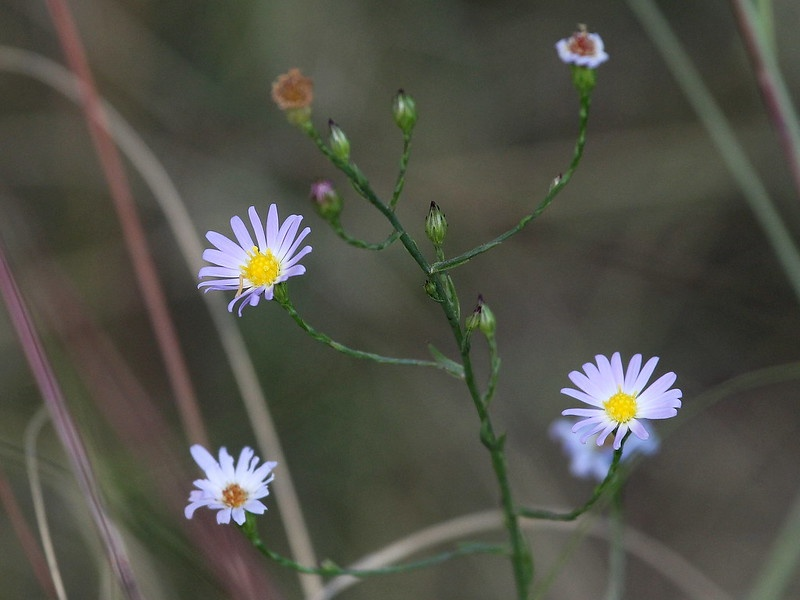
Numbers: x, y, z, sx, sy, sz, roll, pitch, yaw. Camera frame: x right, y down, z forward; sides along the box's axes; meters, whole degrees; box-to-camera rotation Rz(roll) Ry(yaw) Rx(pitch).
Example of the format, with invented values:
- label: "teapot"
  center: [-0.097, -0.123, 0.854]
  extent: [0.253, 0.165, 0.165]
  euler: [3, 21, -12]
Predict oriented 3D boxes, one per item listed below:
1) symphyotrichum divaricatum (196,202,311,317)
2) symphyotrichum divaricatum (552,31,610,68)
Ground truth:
- label: "symphyotrichum divaricatum"
  center: [-0.401, -0.097, 2.393]
  extent: [0.309, 0.128, 0.420]
  euler: [-3, 69, 30]
- label: "symphyotrichum divaricatum"
  center: [0.487, -0.649, 2.280]
  extent: [0.094, 0.069, 0.125]
  euler: [-6, 58, -9]
